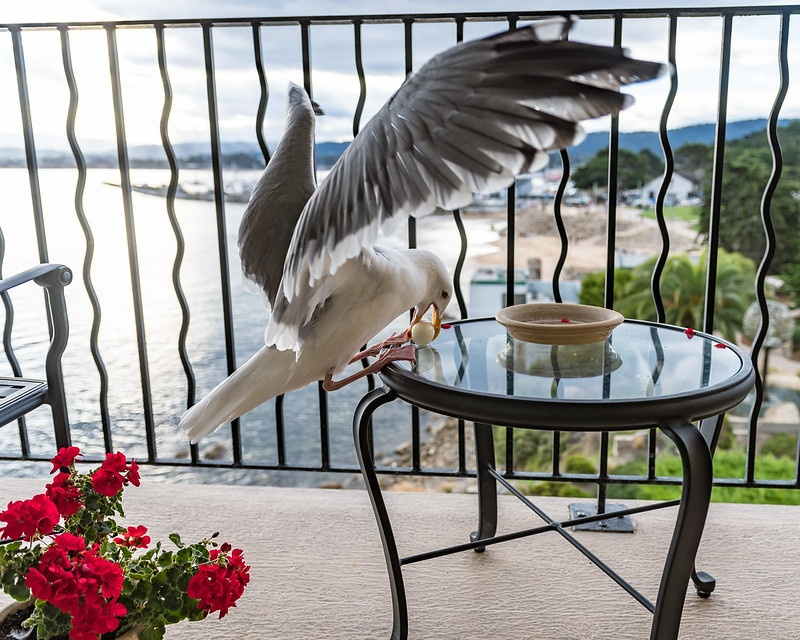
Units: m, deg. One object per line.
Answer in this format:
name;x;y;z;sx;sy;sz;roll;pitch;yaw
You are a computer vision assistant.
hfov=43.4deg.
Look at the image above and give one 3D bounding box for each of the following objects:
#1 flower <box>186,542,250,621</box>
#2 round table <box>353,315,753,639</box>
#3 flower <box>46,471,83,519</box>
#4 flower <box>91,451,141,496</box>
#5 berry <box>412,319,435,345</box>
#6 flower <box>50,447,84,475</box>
flower;-0.592;0.833;3.239;0.145;0.212;0.173;2;7;20
round table;0.440;0.534;3.554;1.216;0.841;1.182;-1;15;0
flower;-1.087;0.561;3.233;0.139;0.130;0.071;5;-25;-18
flower;-0.913;0.489;3.290;0.148;0.075;0.123;26;19;25
berry;0.080;0.044;3.648;0.087;0.094;0.087;1;2;-2
flower;-1.123;0.468;3.341;0.086;0.096;0.111;-2;7;-16
